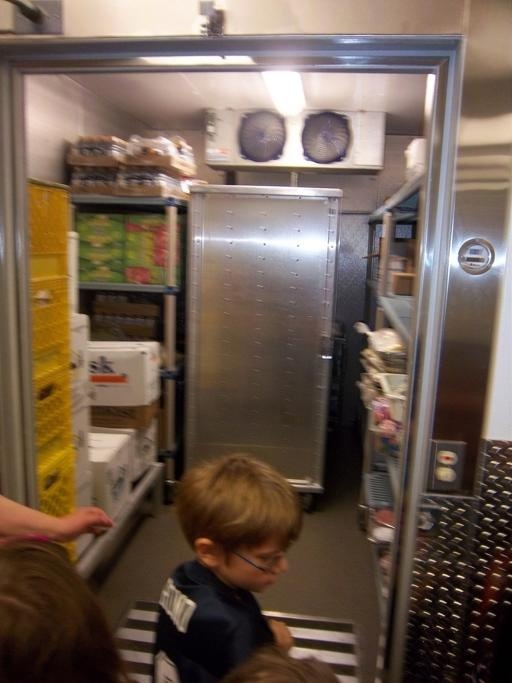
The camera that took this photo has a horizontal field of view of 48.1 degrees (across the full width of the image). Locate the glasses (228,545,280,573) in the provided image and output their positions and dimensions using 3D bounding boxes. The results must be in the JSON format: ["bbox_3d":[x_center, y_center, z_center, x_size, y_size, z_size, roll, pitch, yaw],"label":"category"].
[{"bbox_3d":[0.001,0.445,1.197,0.070,0.020,0.066,21,-7,26],"label":"glasses"}]

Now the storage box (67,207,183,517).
[{"bbox_3d":[-0.689,0.052,3.243,0.612,1.655,0.826,-2,10,-14],"label":"storage box"}]
